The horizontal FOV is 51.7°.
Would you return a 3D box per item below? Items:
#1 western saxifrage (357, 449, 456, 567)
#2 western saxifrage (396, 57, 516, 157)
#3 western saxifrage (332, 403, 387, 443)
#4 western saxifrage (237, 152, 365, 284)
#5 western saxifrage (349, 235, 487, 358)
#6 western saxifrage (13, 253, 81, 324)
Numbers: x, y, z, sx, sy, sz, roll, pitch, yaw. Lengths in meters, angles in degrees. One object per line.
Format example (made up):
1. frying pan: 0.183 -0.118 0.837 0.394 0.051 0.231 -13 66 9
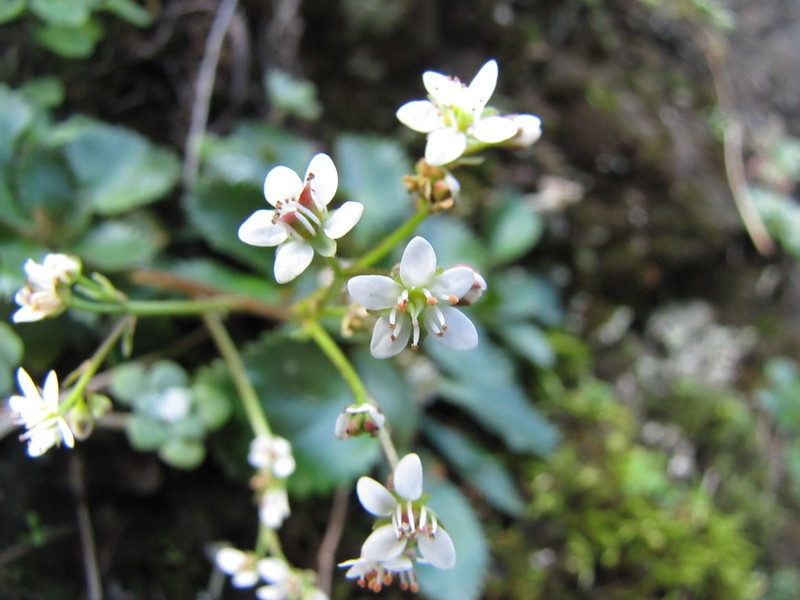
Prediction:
1. western saxifrage: 0.014 0.483 1.856 0.211 0.257 0.157 2 31 -18
2. western saxifrage: 0.138 -0.427 1.884 0.244 0.220 0.192 28 33 25
3. western saxifrage: -0.095 0.272 1.898 0.073 0.051 0.100 1 10 -13
4. western saxifrage: -0.235 -0.183 1.865 0.246 0.272 0.169 -4 33 -26
5. western saxifrage: 0.041 -0.010 1.865 0.262 0.131 0.301 9 7 -17
6. western saxifrage: -0.852 -0.026 1.986 0.160 0.145 0.110 -10 36 -33
